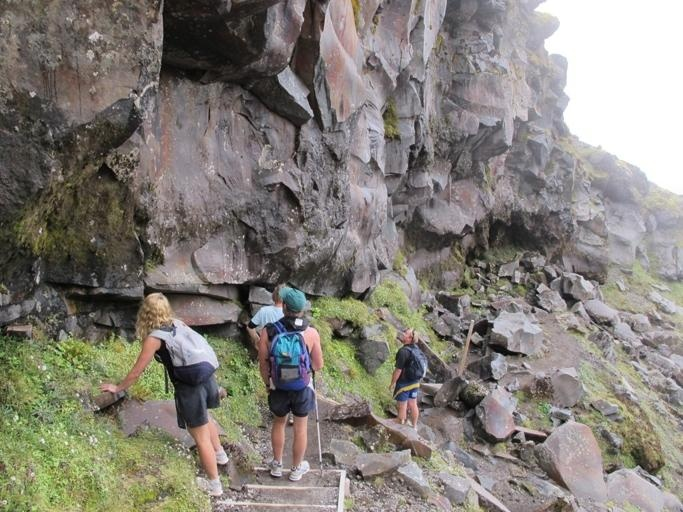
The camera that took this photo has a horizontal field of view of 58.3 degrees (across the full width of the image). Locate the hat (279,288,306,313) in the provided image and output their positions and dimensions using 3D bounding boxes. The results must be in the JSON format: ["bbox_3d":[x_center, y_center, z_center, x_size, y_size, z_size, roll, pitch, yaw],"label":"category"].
[{"bbox_3d":[-0.660,0.591,8.630,0.241,0.442,0.377,-8,1,-26],"label":"hat"}]

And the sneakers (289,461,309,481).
[{"bbox_3d":[-0.606,3.128,9.069,0.142,0.201,0.413,6,23,26],"label":"sneakers"}]

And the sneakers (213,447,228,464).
[{"bbox_3d":[-1.686,2.825,8.662,0.114,0.110,0.231,2,14,4],"label":"sneakers"}]

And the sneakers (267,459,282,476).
[{"bbox_3d":[-0.977,3.135,9.084,0.112,0.182,0.346,0,-5,-7],"label":"sneakers"}]

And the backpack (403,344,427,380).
[{"bbox_3d":[1.510,2.136,12.056,0.424,0.736,0.342,8,-19,-42],"label":"backpack"}]
